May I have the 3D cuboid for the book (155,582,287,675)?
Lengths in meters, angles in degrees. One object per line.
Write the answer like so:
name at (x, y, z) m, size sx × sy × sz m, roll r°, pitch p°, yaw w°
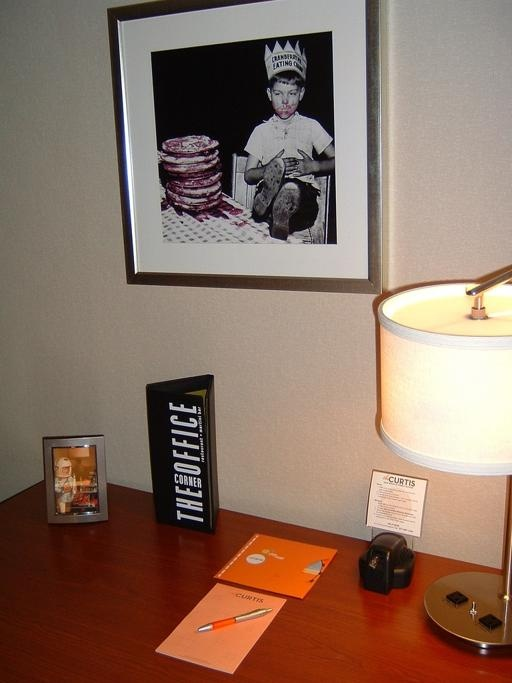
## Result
book at (-0.049, 0.473, 0.958) m, size 0.147 × 0.009 × 0.222 m, roll 3°, pitch 5°, yaw 26°

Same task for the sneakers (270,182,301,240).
sneakers at (0.053, -0.245, 1.075) m, size 0.038 × 0.119 × 0.050 m, roll 16°, pitch 18°, yaw 15°

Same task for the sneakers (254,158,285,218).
sneakers at (0.022, -0.285, 1.115) m, size 0.039 × 0.121 × 0.048 m, roll 31°, pitch 23°, yaw 27°
